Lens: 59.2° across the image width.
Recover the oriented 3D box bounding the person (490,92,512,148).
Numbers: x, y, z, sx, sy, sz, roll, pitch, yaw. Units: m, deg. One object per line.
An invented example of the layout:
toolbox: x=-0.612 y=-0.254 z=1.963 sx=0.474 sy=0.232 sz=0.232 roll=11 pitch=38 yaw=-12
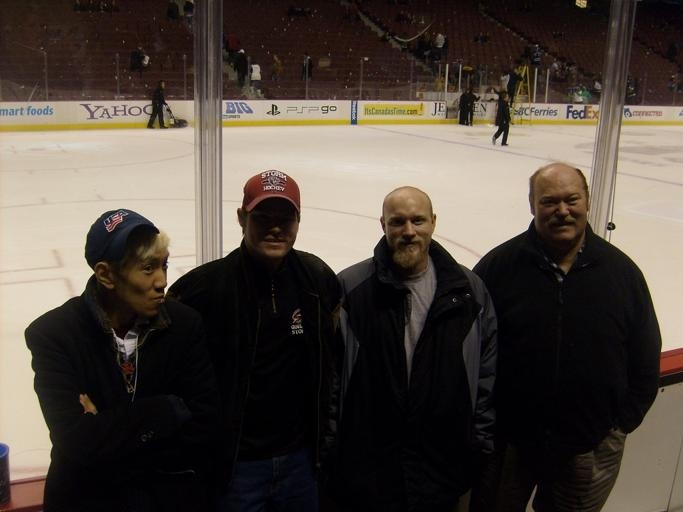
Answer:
person: x=3.390 y=-2.938 z=12.746 sx=0.337 sy=1.148 sz=1.589 roll=2 pitch=12 yaw=14

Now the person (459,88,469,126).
person: x=3.145 y=-3.784 z=15.359 sx=0.243 sy=0.814 sz=0.620 roll=1 pitch=11 yaw=11

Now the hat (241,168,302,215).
hat: x=-0.244 y=-0.225 z=2.129 sx=0.211 sy=0.167 sz=0.299 roll=0 pitch=-7 yaw=-9

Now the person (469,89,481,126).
person: x=3.347 y=-3.784 z=15.295 sx=0.268 sy=0.875 sz=0.907 roll=3 pitch=12 yaw=20

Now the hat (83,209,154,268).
hat: x=-0.671 y=-0.076 z=1.820 sx=0.195 sy=0.138 sz=0.248 roll=-34 pitch=4 yaw=-22
